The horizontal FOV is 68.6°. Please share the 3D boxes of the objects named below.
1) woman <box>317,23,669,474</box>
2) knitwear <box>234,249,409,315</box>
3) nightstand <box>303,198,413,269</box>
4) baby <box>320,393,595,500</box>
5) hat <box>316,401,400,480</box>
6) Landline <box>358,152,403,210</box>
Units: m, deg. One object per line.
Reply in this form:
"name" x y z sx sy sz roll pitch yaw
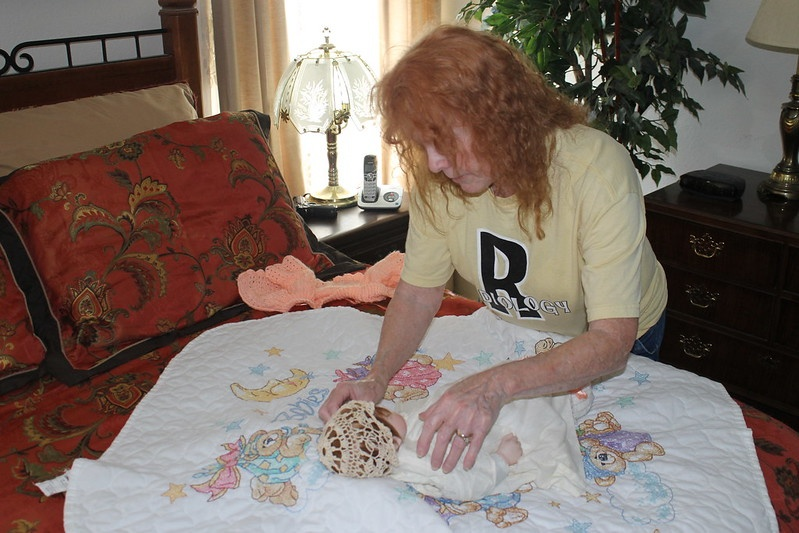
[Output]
"woman" 0.209 -0.066 1.392 0.709 0.934 0.574 5 23 14
"knitwear" -0.264 0.065 1.985 0.409 0.107 0.246 3 25 -9
"nightstand" -0.144 -0.142 2.546 0.237 0.286 0.447 30 46 34
"baby" 0.148 0.426 1.371 0.451 0.122 0.271 4 32 -3
"hat" -0.103 0.404 1.346 0.162 0.129 0.141 -10 24 -21
"Landline" -0.100 -0.372 2.712 0.251 0.251 0.248 -2 40 -1
